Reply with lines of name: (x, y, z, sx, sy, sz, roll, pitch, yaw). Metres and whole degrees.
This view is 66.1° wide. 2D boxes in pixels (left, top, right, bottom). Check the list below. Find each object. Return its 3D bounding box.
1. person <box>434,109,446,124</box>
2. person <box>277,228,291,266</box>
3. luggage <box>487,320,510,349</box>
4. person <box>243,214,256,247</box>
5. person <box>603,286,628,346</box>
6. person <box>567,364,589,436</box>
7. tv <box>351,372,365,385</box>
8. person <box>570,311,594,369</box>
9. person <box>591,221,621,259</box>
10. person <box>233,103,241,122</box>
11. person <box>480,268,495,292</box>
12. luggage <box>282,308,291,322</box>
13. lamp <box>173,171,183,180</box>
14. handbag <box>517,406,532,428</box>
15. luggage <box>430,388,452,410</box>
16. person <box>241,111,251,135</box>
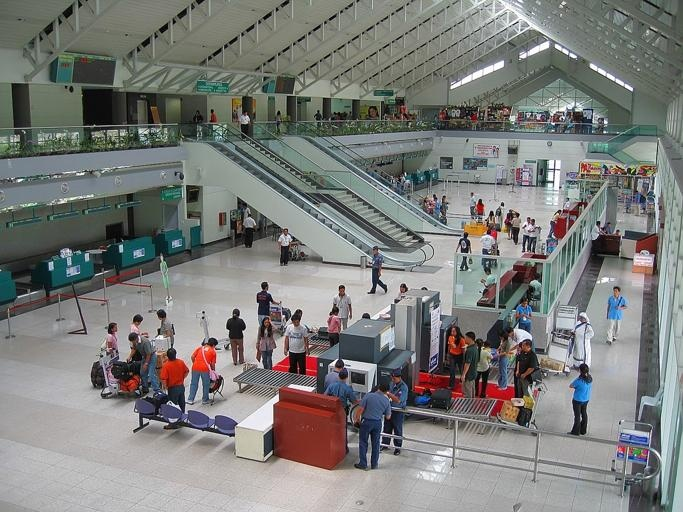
person: (8.929, -12.634, 47.332, 0.894, 1.424, 0.465, 3, 5, -28)
person: (-2.515, -0.413, 22.485, 0.444, 1.435, 0.965, -2, 10, -7)
luggage: (3.938, 1.979, 13.139, 0.429, 0.933, 0.506, 10, 18, 23)
person: (-4.565, -1.164, 25.245, 0.439, 1.490, 0.880, -3, 10, -16)
person: (8.069, 1.503, 15.351, 0.441, 1.624, 2.039, 4, 12, 27)
person: (4.646, 2.692, 10.179, 0.343, 1.483, 1.042, 4, 11, 26)
tv: (0.302, 2.351, 10.132, 0.230, 0.194, 0.026, 4, 5, 26)
person: (5.811, 2.068, 12.635, 0.406, 1.566, 0.695, 4, 11, 25)
person: (12.512, -0.768, 24.766, 1.335, 1.437, 0.342, 0, 10, 4)
person: (-6.712, -8.925, 32.597, 0.494, 1.104, 1.803, -3, 12, -11)
person: (3.956, 0.615, 14.203, 0.324, 0.764, 0.405, -14, 20, -20)
luggage: (-1.633, 1.667, 14.923, 0.276, 0.434, 0.372, -1, 2, -15)
lamp: (-7.233, -3.499, 22.924, 0.107, 0.424, 0.506, 3, 12, 23)
handbag: (3.542, 3.097, 10.102, 0.321, 0.348, 0.183, -9, 13, -36)
luggage: (2.044, 2.916, 10.754, 0.278, 0.221, 0.419, 1, 14, 19)
person: (-5.010, -6.685, 26.726, 0.550, 1.046, 1.524, -3, 11, -10)
